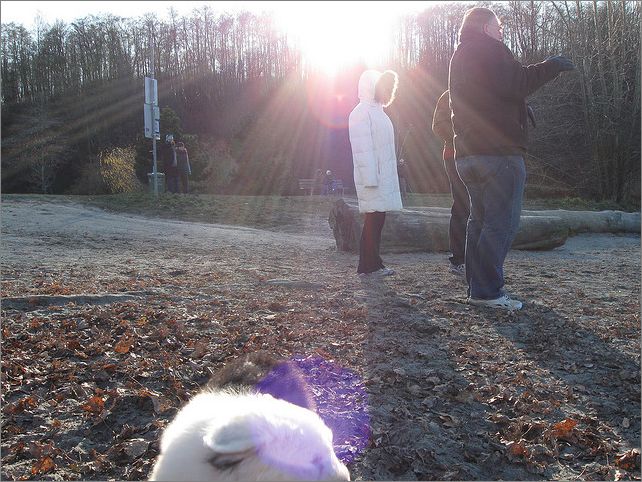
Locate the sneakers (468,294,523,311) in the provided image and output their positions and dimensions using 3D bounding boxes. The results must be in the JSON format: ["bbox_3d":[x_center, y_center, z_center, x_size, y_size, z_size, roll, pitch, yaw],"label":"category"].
[{"bbox_3d":[1.720,0.609,4.631,0.460,0.216,0.183,-1,6,7],"label":"sneakers"}]

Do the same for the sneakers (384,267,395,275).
[{"bbox_3d":[0.861,0.384,5.952,0.070,0.063,0.153,9,-11,-44],"label":"sneakers"}]

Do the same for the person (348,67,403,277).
[{"bbox_3d":[0.674,-0.839,5.901,0.731,2.572,0.492,3,8,-4],"label":"person"}]

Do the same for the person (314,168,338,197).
[{"bbox_3d":[0.216,-2.968,24.396,1.171,1.231,2.423,5,9,-1],"label":"person"}]

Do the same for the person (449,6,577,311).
[{"bbox_3d":[1.625,-0.784,4.513,0.939,2.827,0.397,9,10,29],"label":"person"}]

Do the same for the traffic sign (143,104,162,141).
[{"bbox_3d":[-5.821,-4.086,16.095,0.562,1.094,0.327,-4,12,-45],"label":"traffic sign"}]

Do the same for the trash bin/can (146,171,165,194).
[{"bbox_3d":[-5.996,-2.071,17.059,0.520,0.778,1.979,1,10,-20],"label":"trash bin/can"}]
